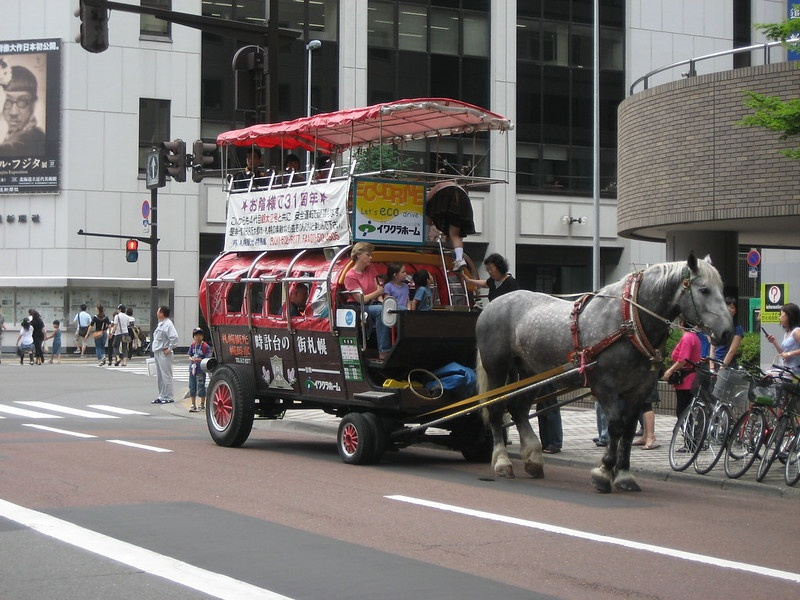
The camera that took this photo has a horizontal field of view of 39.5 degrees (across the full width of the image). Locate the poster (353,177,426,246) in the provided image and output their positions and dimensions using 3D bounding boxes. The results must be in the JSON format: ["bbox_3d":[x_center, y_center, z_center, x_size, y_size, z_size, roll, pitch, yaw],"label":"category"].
[{"bbox_3d":[-0.200,-1.357,17.052,1.071,0.805,0.040,-3,3,-40],"label":"poster"}]

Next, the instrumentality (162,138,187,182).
[{"bbox_3d":[-5.280,-3.277,26.162,0.536,1.038,0.336,-7,10,-38],"label":"instrumentality"}]

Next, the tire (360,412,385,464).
[{"bbox_3d":[-0.417,2.034,16.418,0.276,0.772,0.694,1,-3,-37],"label":"tire"}]

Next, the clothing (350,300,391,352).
[{"bbox_3d":[-0.359,0.424,16.614,0.384,0.748,0.506,0,4,-16],"label":"clothing"}]

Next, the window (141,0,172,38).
[{"bbox_3d":[-9.712,-11.242,44.513,1.220,1.628,1.213,0,4,-14],"label":"window"}]

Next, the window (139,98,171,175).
[{"bbox_3d":[-9.663,-6.467,43.937,1.239,2.957,0.776,0,4,-15],"label":"window"}]

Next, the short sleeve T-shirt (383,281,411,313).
[{"bbox_3d":[-0.060,-0.036,16.687,0.427,0.418,0.221,3,-15,-30],"label":"short sleeve T-shirt"}]

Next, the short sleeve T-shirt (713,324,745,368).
[{"bbox_3d":[5.039,0.724,17.110,0.368,0.722,0.691,12,13,5],"label":"short sleeve T-shirt"}]

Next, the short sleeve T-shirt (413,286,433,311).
[{"bbox_3d":[0.347,-0.020,16.845,0.366,0.383,0.210,1,1,-6],"label":"short sleeve T-shirt"}]
